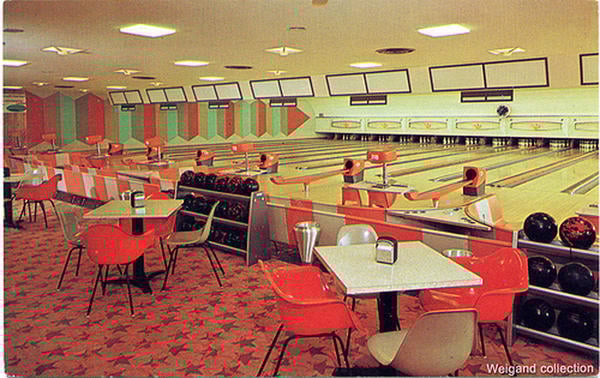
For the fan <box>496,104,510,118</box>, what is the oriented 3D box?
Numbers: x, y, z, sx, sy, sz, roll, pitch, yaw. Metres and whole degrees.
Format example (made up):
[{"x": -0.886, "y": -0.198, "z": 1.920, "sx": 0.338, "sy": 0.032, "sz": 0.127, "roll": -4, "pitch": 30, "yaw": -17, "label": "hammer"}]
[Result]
[{"x": 6.344, "y": -2.419, "z": 11.966, "sx": 0.378, "sy": 0.416, "sz": 0.281, "roll": 5, "pitch": 14, "yaw": 32, "label": "fan"}]
